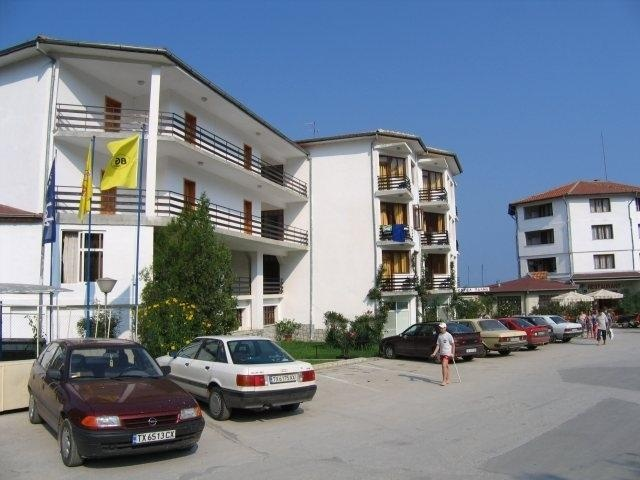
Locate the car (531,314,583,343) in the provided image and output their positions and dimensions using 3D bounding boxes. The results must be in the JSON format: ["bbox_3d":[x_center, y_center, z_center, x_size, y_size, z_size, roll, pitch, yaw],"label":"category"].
[{"bbox_3d":[12.019,4.678,30.072,1.233,1.038,2.857,0,0,-40],"label":"car"}]

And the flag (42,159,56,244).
[{"bbox_3d":[-9.766,-1.345,20.986,0.342,3.117,0.513,16,15,20],"label":"flag"}]

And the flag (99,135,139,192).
[{"bbox_3d":[-7.757,-2.831,22.055,1.548,2.976,0.507,-2,-37,-10],"label":"flag"}]

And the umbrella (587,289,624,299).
[{"bbox_3d":[20.936,4.034,42.299,1.926,0.701,2.039,3,-7,-22],"label":"umbrella"}]

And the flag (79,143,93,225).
[{"bbox_3d":[-9.022,-2.314,22.303,0.499,2.985,2.365,-1,0,-21],"label":"flag"}]

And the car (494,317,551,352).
[{"bbox_3d":[9.128,4.380,26.662,2.616,0.936,1.223,0,0,42],"label":"car"}]

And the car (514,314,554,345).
[{"bbox_3d":[10.793,4.500,28.999,2.034,1.056,1.134,1,-4,24],"label":"car"}]

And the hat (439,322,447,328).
[{"bbox_3d":[4.005,2.823,18.991,0.279,0.231,0.418,-1,-12,17],"label":"hat"}]

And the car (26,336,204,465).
[{"bbox_3d":[-4.674,3.497,12.766,4.195,2.600,2.122,-1,-1,37],"label":"car"}]
